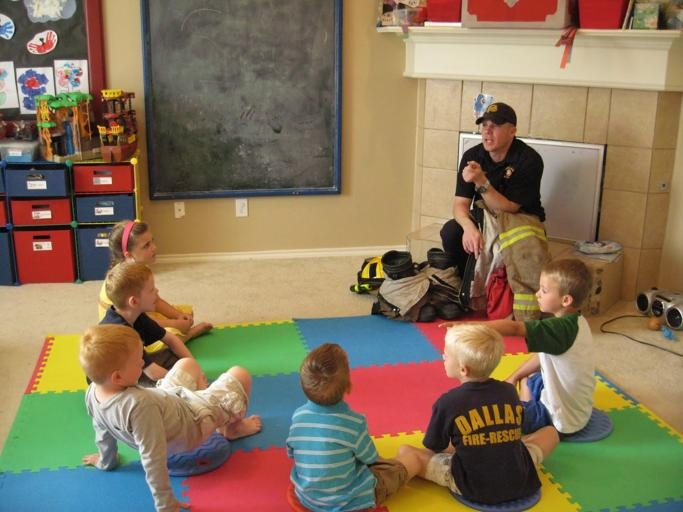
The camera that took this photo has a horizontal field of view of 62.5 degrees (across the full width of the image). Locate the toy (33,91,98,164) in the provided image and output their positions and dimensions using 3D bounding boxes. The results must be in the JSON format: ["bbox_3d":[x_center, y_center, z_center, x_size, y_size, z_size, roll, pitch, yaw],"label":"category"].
[{"bbox_3d":[-1.841,-0.836,3.868,0.454,0.597,0.493,-8,14,-39],"label":"toy"}]

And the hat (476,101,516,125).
[{"bbox_3d":[0.932,-0.832,3.370,0.199,0.110,0.144,9,12,-13],"label":"hat"}]

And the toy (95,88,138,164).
[{"bbox_3d":[-1.518,-0.894,3.854,0.196,0.483,0.362,-2,11,1],"label":"toy"}]

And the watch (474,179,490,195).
[{"bbox_3d":[0.836,-0.408,3.354,0.080,0.079,0.075,-16,3,5],"label":"watch"}]
